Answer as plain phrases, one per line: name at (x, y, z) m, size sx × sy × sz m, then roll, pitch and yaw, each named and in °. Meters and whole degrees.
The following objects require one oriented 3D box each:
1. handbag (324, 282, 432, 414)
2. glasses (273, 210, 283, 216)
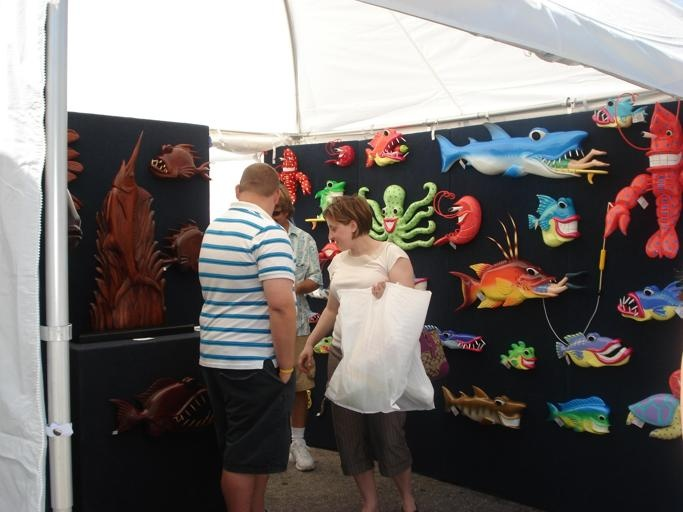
handbag at (0.216, 0.543, 3.582) m, size 0.782 × 0.897 × 0.506 m, roll 0°, pitch -3°, yaw 18°
glasses at (-0.436, -0.290, 4.181) m, size 0.076 × 0.032 × 0.079 m, roll 2°, pitch -4°, yaw 4°
